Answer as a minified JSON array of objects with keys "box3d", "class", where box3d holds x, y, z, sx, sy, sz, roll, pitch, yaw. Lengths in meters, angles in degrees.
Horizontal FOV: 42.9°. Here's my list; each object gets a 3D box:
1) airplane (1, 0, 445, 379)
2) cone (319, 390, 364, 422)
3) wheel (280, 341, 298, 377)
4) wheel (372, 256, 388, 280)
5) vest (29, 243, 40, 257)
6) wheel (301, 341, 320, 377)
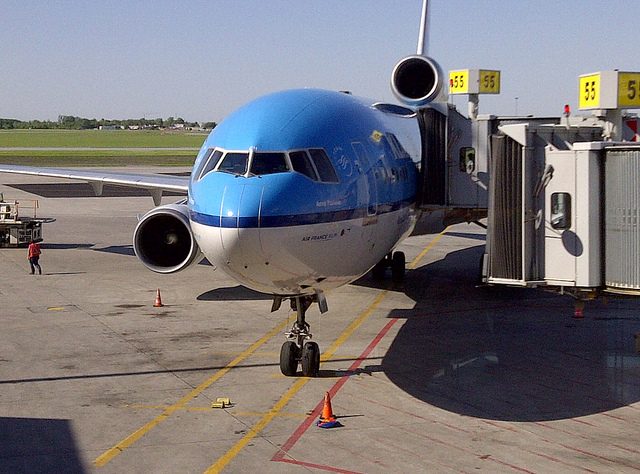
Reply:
[{"box3d":[-0.996,-1.025,21.223,11.986,4.601,10.496,2,7,12],"class":"airplane"},{"box3d":[0.256,3.430,16.645,0.734,0.545,0.404,-3,7,-37],"class":"cone"},{"box3d":[-0.717,2.840,18.897,0.357,0.774,0.887,-1,3,11],"class":"wheel"},{"box3d":[2.058,1.078,28.333,0.495,0.774,0.764,2,5,7],"class":"wheel"},{"box3d":[-10.077,0.451,28.686,0.278,0.410,0.473,3,6,23],"class":"vest"},{"box3d":[-0.233,2.824,18.850,0.386,0.775,0.349,2,6,8],"class":"wheel"}]
